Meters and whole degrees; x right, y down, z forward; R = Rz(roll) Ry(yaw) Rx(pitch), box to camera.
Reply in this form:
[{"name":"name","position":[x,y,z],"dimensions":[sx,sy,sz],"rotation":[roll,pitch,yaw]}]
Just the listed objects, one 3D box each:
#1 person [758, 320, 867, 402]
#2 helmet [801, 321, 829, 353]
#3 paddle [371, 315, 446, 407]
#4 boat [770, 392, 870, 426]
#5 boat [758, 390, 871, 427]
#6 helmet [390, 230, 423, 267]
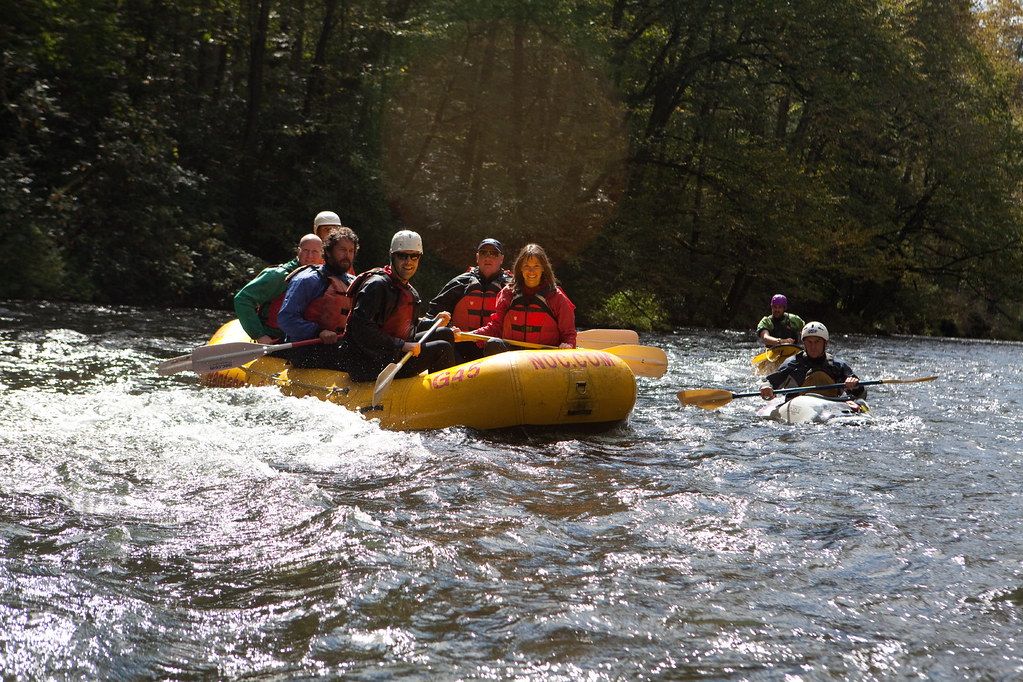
[{"name":"person","position":[4.908,0.334,20.073],"dimensions":[1.543,1.737,1.093],"rotation":[-3,-38,34]},{"name":"helmet","position":[4.512,-0.077,18.175],"dimensions":[0.387,0.476,0.599],"rotation":[8,11,12]},{"name":"paddle","position":[-1.404,0.295,16.010],"dimensions":[1.705,0.244,0.084],"rotation":[-38,-7,-36]},{"name":"boat","position":[4.410,0.983,17.227],"dimensions":[1.151,0.310,0.532],"rotation":[7,-7,-30]},{"name":"boat","position":[4.459,0.976,17.273],"dimensions":[1.104,0.299,0.571],"rotation":[7,-8,-34]},{"name":"helmet","position":[-1.328,-1.314,16.303],"dimensions":[0.506,0.460,0.567],"rotation":[3,-7,-13]}]
